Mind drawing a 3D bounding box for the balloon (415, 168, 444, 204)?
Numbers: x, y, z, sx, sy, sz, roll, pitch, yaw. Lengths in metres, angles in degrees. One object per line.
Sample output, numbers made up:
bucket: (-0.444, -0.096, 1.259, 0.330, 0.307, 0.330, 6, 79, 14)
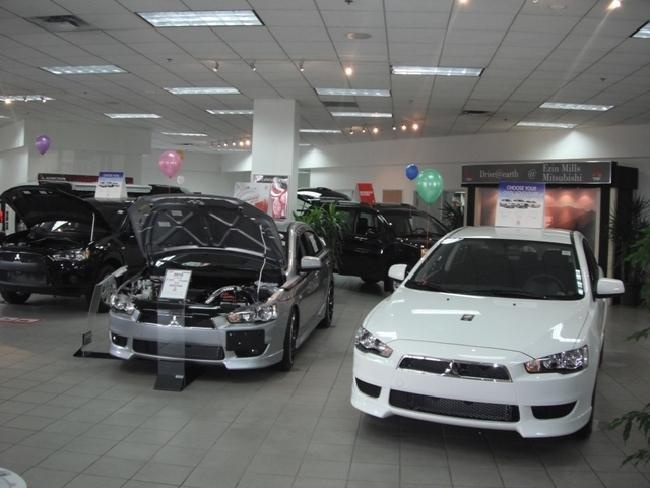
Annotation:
balloon: (2.403, -1.385, 10.232, 0.877, 0.948, 0.845, 0, 2, 0)

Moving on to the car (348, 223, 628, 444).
car: (1.503, 0.593, 3.713, 1.516, 0.791, 2.345, 3, 9, 22)

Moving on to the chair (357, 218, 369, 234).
chair: (0.831, -0.400, 9.530, 0.338, 0.305, 0.323, 4, 26, 9)
